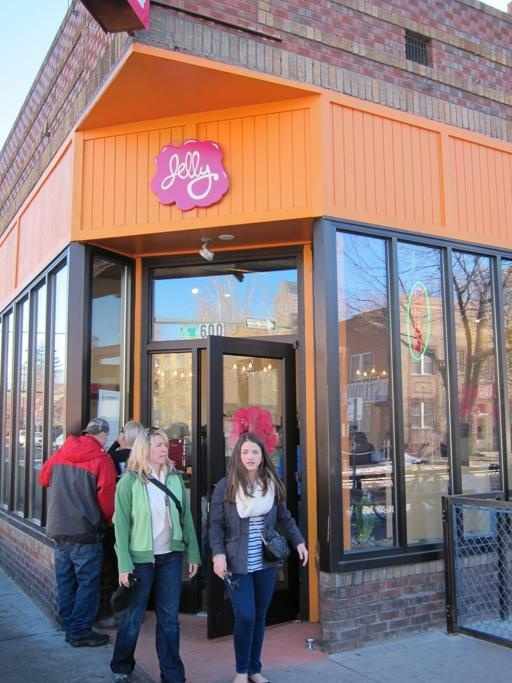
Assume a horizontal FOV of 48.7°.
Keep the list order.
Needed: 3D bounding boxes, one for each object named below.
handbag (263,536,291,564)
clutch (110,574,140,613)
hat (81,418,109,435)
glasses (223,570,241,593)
[{"bbox_3d":[0.122,1.146,3.126,0.116,0.154,0.191,-8,-12,30],"label":"handbag"},{"bbox_3d":[-0.708,1.283,2.942,0.064,0.190,0.131,10,-29,26],"label":"clutch"},{"bbox_3d":[-1.245,0.660,4.402,0.129,0.151,0.175,10,8,41],"label":"hat"},{"bbox_3d":[-0.136,1.286,3.026,0.096,0.089,0.029,20,7,24],"label":"glasses"}]
